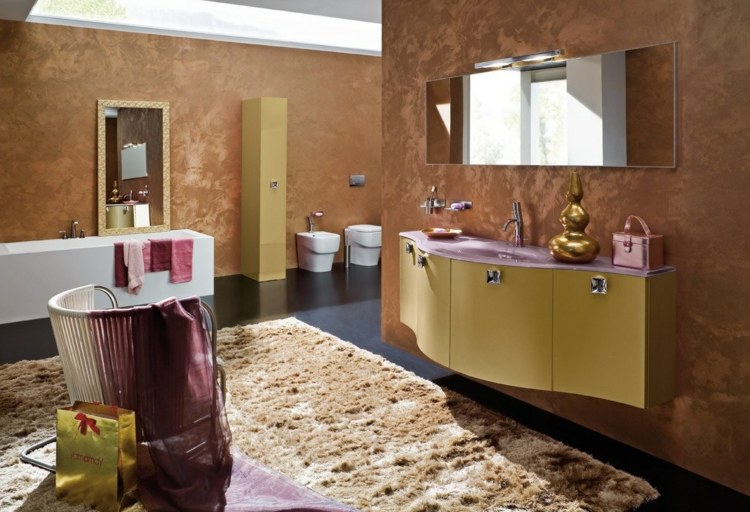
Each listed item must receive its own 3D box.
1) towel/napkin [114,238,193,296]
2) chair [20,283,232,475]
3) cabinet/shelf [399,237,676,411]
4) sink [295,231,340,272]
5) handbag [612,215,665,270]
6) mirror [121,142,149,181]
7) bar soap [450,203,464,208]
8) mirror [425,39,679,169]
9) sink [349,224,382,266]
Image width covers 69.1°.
[{"bbox_3d":[-2.472,0.127,6.004,0.591,0.419,0.069,-5,9,-38],"label":"towel/napkin"},{"bbox_3d":[-1.332,0.519,3.144,0.984,0.923,0.919,6,10,40],"label":"chair"},{"bbox_3d":[0.842,0.316,3.861,0.719,0.914,2.175,-14,18,-37],"label":"cabinet/shelf"},{"bbox_3d":[-0.843,-0.060,7.842,0.354,0.531,0.607,-11,18,-39],"label":"sink"},{"bbox_3d":[1.566,-0.070,3.209,0.203,0.392,0.318,1,-1,-31],"label":"handbag"},{"bbox_3d":[-2.974,-1.167,6.685,0.467,0.549,0.068,-2,3,-43],"label":"mirror"},{"bbox_3d":[0.654,-0.396,4.312,0.046,0.039,0.112,-5,6,-9],"label":"bar soap"},{"bbox_3d":[1.162,-0.984,3.715,1.735,0.787,0.287,12,18,38],"label":"mirror"},{"bbox_3d":[-0.169,-0.141,8.162,0.610,0.584,0.343,4,14,16],"label":"sink"}]
